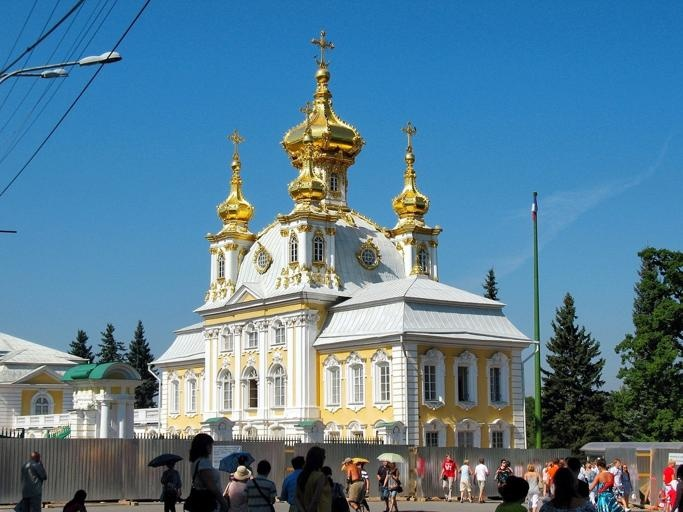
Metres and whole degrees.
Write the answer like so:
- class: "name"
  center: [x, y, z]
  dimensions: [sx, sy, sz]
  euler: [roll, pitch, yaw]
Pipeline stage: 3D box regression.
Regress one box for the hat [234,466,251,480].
- class: "hat"
  center: [-3.045, 6.581, 46.366]
  dimensions: [0.488, 0.453, 0.489]
  euler: [0, -16, -5]
